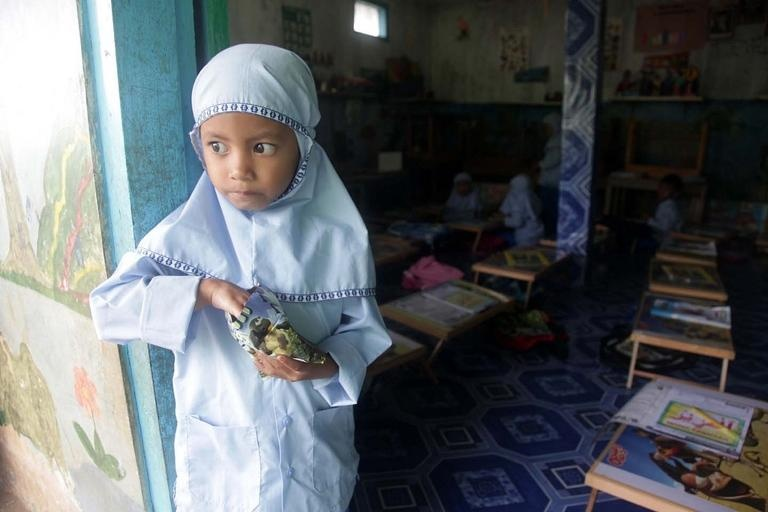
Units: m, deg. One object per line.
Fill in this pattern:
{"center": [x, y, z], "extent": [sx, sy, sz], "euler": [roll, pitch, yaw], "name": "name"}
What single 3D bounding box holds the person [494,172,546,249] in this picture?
{"center": [1.499, -0.468, 6.187], "extent": [0.469, 0.782, 0.498], "euler": [-9, 26, -2], "name": "person"}
